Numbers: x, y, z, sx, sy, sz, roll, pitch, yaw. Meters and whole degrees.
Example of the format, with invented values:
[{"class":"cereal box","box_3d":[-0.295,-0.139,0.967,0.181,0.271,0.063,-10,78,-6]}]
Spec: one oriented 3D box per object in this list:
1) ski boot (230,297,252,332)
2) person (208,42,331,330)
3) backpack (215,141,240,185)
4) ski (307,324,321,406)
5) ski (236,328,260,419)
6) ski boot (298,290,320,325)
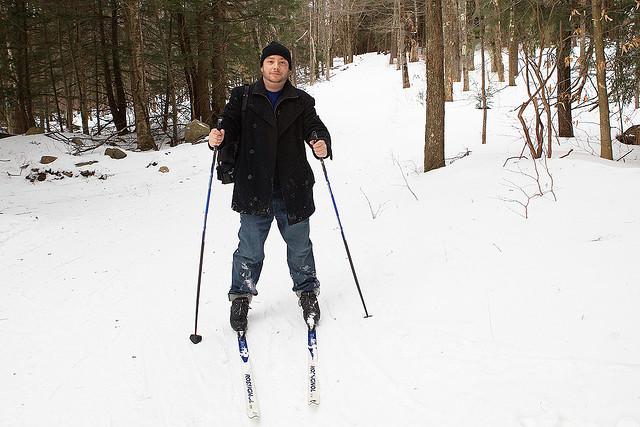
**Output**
[{"class":"ski boot","box_3d":[-1.051,1.319,6.402,0.178,0.198,0.473,5,44,-26]},{"class":"person","box_3d":[-0.614,-0.347,6.351,1.438,3.630,0.862,-6,15,-9]},{"class":"backpack","box_3d":[-1.191,-0.672,6.362,0.381,0.508,0.196,-1,-2,31]},{"class":"ski","box_3d":[-0.083,1.916,5.894,0.115,0.066,0.893,10,32,-9]},{"class":"ski","box_3d":[-0.887,1.926,5.977,0.157,0.100,1.351,-3,27,-9]},{"class":"ski boot","box_3d":[-0.140,1.223,6.481,0.176,0.217,0.515,-8,50,-3]}]
